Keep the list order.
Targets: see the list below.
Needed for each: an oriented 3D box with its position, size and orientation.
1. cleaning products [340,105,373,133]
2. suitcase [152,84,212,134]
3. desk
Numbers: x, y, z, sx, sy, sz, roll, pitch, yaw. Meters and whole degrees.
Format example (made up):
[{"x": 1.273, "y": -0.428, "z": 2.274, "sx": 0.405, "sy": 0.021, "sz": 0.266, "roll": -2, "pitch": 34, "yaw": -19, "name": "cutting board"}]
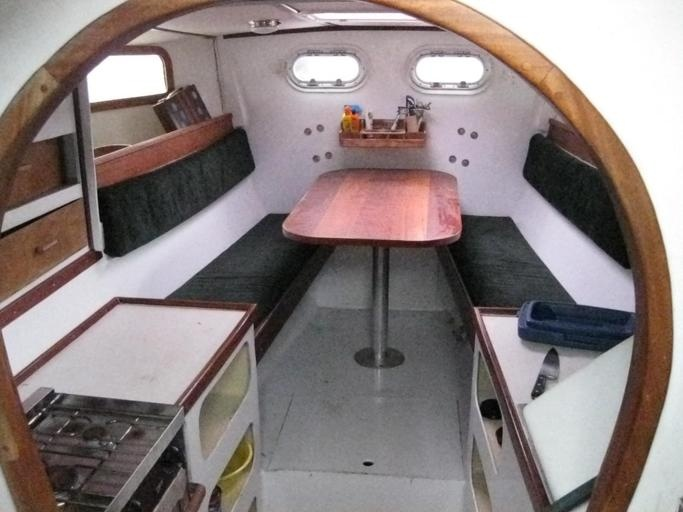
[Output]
[{"x": 0.129, "y": -1.085, "z": 4.232, "sx": 0.171, "sy": 0.215, "sz": 0.313, "roll": 1, "pitch": 28, "yaw": 3, "name": "cleaning products"}, {"x": -1.090, "y": -1.066, "z": 3.820, "sx": 0.239, "sy": 0.238, "sz": 0.088, "roll": -21, "pitch": 12, "yaw": 11, "name": "suitcase"}, {"x": 0.261, "y": 0.183, "z": 3.689, "sx": 0.981, "sy": 1.199, "sz": 1.853, "roll": 3, "pitch": 20, "yaw": 10, "name": "desk"}]
